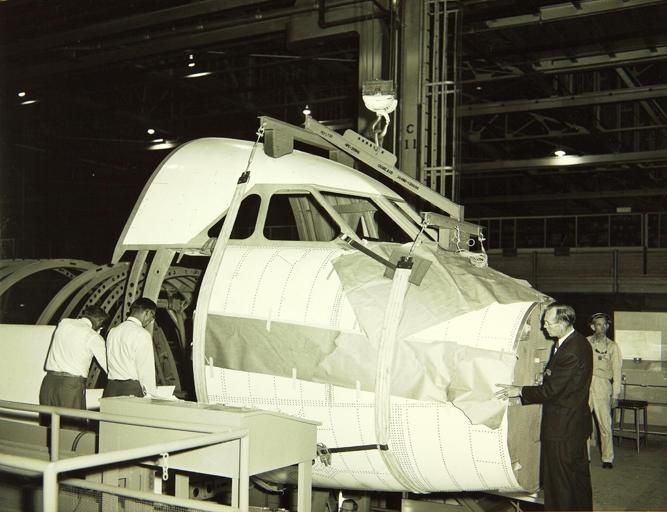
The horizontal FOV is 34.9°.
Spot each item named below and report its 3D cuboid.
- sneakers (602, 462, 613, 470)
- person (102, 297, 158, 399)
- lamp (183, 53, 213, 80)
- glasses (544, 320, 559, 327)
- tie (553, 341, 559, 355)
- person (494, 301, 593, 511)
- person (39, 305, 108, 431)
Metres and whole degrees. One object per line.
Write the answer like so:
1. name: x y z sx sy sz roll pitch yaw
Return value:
1. sneakers: 6.683 5.105 25.909 0.157 0.121 0.152 9 -13 -41
2. person: -4.028 1.862 21.456 1.302 2.224 0.635 10 12 37
3. lamp: -4.566 -6.235 35.375 0.673 0.682 0.688 9 -50 2
4. glasses: 4.300 1.325 21.002 0.255 0.125 0.038 5 10 9
5. tie: 4.494 1.847 21.453 0.045 0.184 0.179 16 -25 -1
6. person: 4.656 3.071 21.166 1.129 4.085 0.875 1 9 -10
7. person: -5.668 2.479 22.702 1.001 0.938 3.205 16 -45 -10
